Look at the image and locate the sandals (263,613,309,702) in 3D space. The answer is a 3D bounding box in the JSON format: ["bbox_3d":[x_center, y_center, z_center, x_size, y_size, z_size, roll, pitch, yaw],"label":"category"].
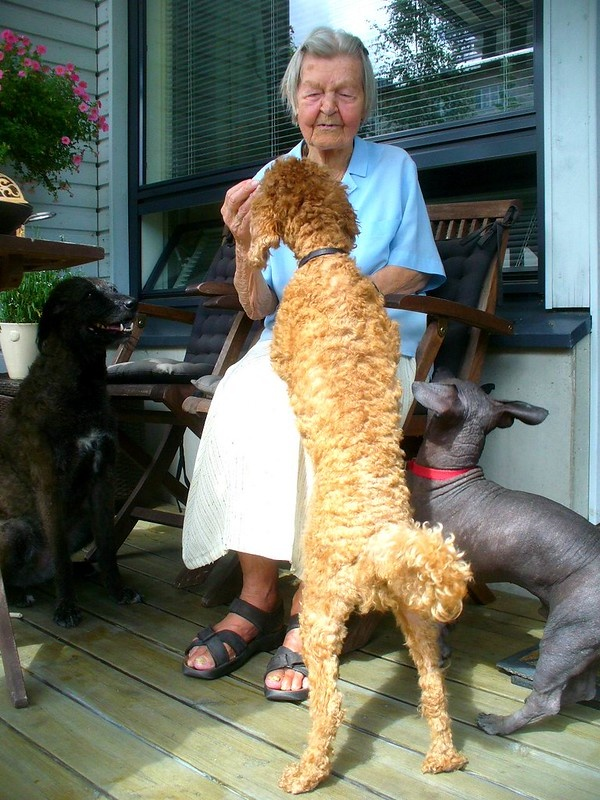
[{"bbox_3d":[-0.034,0.629,1.716,0.100,0.061,0.251,0,9,5],"label":"sandals"}]

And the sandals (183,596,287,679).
[{"bbox_3d":[-0.167,0.625,1.875,0.115,0.135,0.337,0,2,41],"label":"sandals"}]

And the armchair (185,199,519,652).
[{"bbox_3d":[0.282,-0.138,2.460,1.011,0.960,0.882,-5,22,11],"label":"armchair"}]
